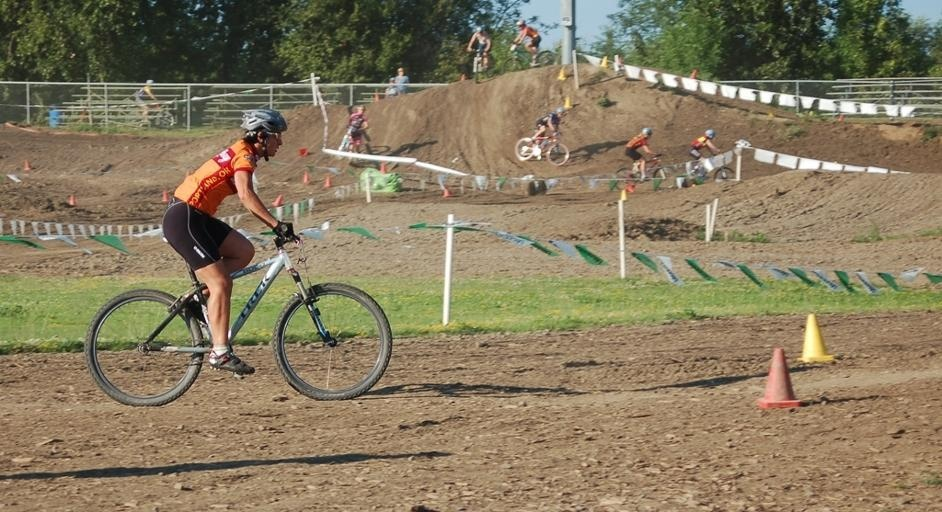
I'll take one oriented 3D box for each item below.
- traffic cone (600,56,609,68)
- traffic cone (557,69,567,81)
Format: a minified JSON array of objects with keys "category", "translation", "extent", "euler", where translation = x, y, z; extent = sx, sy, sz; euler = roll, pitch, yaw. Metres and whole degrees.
[{"category":"traffic cone","translation":[6.632,-9.593,65.426],"extent":[0.377,0.480,0.970],"euler":[1,7,10]},{"category":"traffic cone","translation":[4.424,-8.825,64.163],"extent":[0.423,0.543,0.339],"euler":[7,13,38]}]
